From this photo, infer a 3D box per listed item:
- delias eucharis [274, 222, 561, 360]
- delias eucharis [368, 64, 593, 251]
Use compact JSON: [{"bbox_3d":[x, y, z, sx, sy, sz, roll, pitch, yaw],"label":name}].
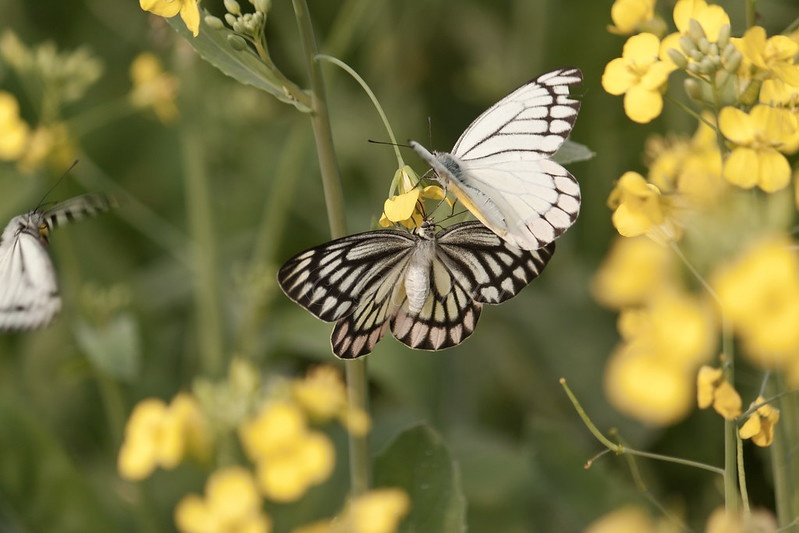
[{"bbox_3d":[0.016,0.022,2.780,0.756,0.384,0.299,-2,26,-18],"label":"delias eucharis"},{"bbox_3d":[0.254,-0.284,2.594,0.536,0.409,0.287,-34,7,28],"label":"delias eucharis"}]
